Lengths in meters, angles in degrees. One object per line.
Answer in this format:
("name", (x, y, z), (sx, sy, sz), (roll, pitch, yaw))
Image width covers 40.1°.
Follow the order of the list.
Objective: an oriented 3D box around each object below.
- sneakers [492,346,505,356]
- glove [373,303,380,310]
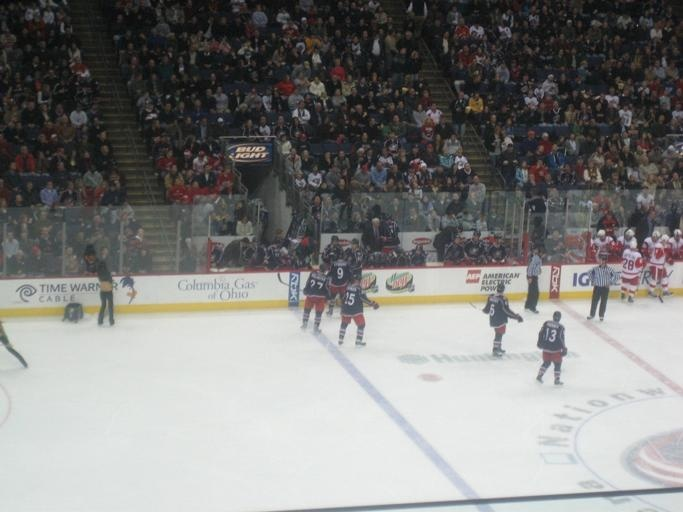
("sneakers", (3.954, 2.377, 23.322), (0.368, 0.293, 0.151), (-4, 15, -3))
("glove", (0.915, 1.299, 24.107), (0.160, 0.179, 0.126), (-9, 0, 3))
